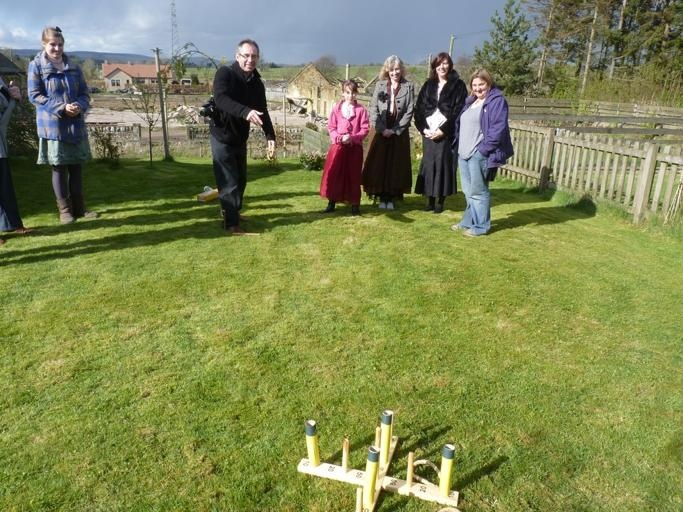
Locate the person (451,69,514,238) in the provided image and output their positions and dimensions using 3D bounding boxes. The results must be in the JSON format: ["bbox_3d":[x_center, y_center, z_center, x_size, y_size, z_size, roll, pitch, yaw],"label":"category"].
[{"bbox_3d":[1.900,-1.387,5.841,0.498,2.210,0.758,-9,18,-23],"label":"person"}]

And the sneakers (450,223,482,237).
[{"bbox_3d":[1.747,-0.376,6.131,0.159,0.205,0.469,-8,10,-42],"label":"sneakers"}]

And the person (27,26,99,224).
[{"bbox_3d":[-3.812,-1.705,5.818,0.749,2.508,0.664,-9,18,-23],"label":"person"}]

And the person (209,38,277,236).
[{"bbox_3d":[-1.294,-1.492,5.613,0.860,2.397,0.765,10,20,37],"label":"person"}]

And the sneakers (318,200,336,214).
[{"bbox_3d":[-0.213,-0.795,6.904,0.297,0.290,0.128,9,28,-2],"label":"sneakers"}]

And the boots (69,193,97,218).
[{"bbox_3d":[-3.894,-0.747,6.383,0.478,0.354,0.228,1,15,-17],"label":"boots"}]

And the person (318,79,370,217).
[{"bbox_3d":[0.041,-1.610,6.511,0.730,1.952,0.474,-3,16,-2],"label":"person"}]

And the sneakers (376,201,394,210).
[{"bbox_3d":[0.731,-0.857,7.181,0.174,0.138,0.339,1,-2,-1],"label":"sneakers"}]
